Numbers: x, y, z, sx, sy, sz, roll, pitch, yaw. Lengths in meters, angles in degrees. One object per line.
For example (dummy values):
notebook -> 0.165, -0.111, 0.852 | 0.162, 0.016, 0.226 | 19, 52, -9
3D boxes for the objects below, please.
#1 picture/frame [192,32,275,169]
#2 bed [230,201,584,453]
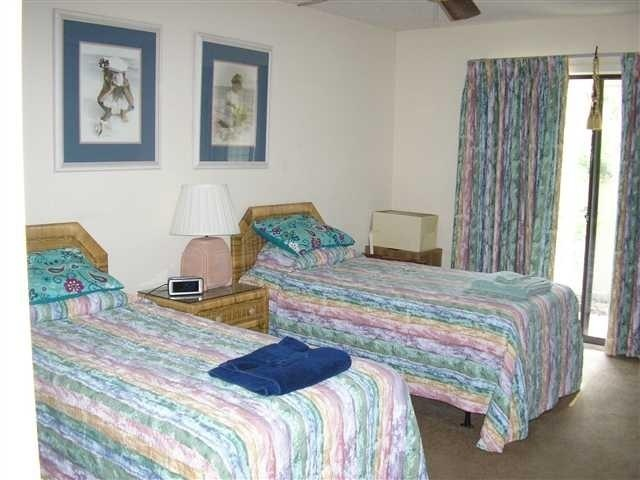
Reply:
picture/frame -> -0.730, -1.141, 4.204 | 0.053, 1.033, 0.810 | 12, 15, 41
bed -> 0.641, 0.471, 4.090 | 2.440, 1.192, 1.551 | 8, 14, 36
